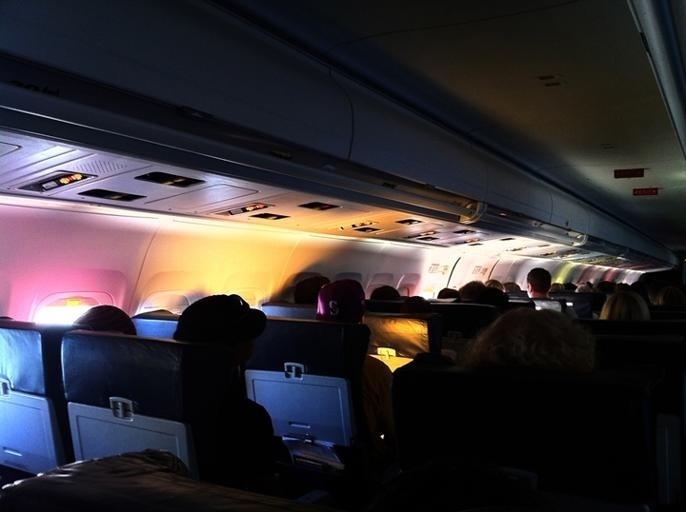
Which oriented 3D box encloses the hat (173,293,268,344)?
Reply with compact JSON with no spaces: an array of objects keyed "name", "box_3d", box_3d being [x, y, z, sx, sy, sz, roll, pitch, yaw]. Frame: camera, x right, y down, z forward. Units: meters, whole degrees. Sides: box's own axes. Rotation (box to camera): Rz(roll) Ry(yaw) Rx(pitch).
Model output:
[{"name":"hat","box_3d":[-0.582,0.312,2.291,0.359,0.148,0.246,-12,14,-37]}]
